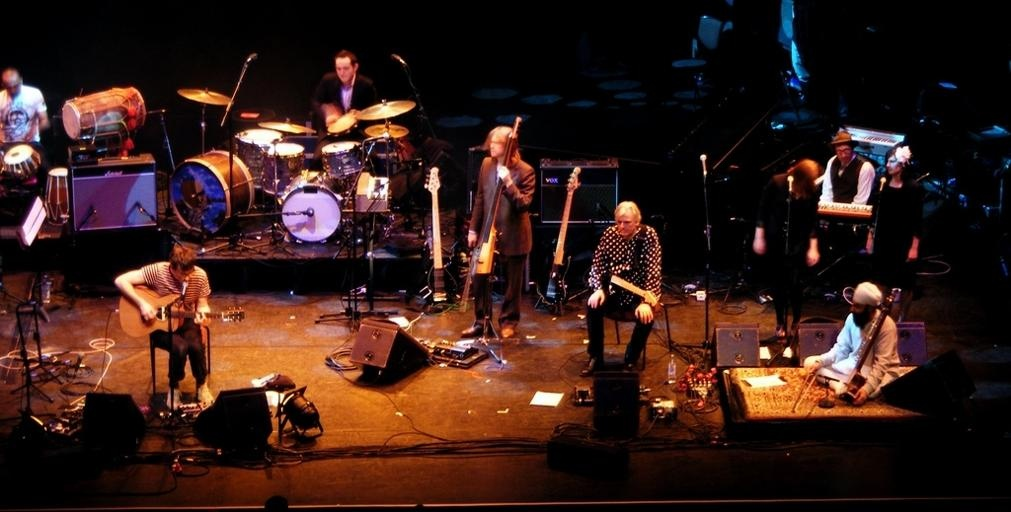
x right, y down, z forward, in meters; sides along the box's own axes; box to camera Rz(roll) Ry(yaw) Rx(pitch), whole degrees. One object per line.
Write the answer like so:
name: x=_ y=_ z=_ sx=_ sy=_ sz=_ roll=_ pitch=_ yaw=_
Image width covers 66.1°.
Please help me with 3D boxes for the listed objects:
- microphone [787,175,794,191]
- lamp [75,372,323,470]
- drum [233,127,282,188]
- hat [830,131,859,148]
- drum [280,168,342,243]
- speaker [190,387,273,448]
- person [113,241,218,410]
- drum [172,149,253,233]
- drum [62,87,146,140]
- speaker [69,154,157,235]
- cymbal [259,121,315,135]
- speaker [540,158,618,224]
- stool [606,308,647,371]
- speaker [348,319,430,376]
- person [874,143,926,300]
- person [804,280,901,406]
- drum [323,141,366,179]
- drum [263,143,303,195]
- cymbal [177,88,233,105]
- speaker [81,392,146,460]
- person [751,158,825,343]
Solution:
microphone: x=4.557 y=-1.137 z=12.388 sx=0.102 sy=0.212 sz=0.054 roll=3 pitch=3 yaw=-34
lamp: x=-3.829 y=2.261 z=10.689 sx=2.535 sy=0.682 sz=1.351 roll=-1 pitch=-4 yaw=-1
drum: x=-4.611 y=-1.811 z=14.632 sx=1.001 sy=0.834 sz=0.933 roll=-21 pitch=40 yaw=-34
hat: x=5.450 y=-1.869 z=12.656 sx=0.446 sy=0.138 sz=0.416 roll=-3 pitch=5 yaw=2
drum: x=-3.340 y=-0.766 z=14.253 sx=1.366 sy=0.987 sz=0.987 roll=1 pitch=3 yaw=12
speaker: x=-3.866 y=2.207 z=10.571 sx=1.142 sy=0.791 sz=1.021 roll=1 pitch=4 yaw=-33
person: x=-4.735 y=0.943 z=11.015 sx=1.474 sy=2.269 sz=0.363 roll=-3 pitch=4 yaw=12
drum: x=-5.498 y=-1.158 z=14.523 sx=1.356 sy=1.522 sz=0.683 roll=4 pitch=2 yaw=15
drum: x=-7.475 y=-2.640 z=14.509 sx=1.104 sy=0.858 sz=1.541 roll=0 pitch=7 yaw=39
speaker: x=-6.651 y=-0.999 z=14.075 sx=1.956 sy=1.315 sz=1.015 roll=-2 pitch=-2 yaw=18
cymbal: x=-4.158 y=-2.468 z=14.854 sx=0.971 sy=0.272 sz=1.033 roll=2 pitch=1 yaw=-21
speaker: x=1.108 y=-1.179 z=14.168 sx=1.620 sy=1.155 sz=0.853 roll=-4 pitch=8 yaw=-30
stool: x=1.764 y=1.239 z=11.733 sx=0.811 sy=0.745 sz=0.591 roll=4 pitch=2 yaw=6
speaker: x=-1.781 y=1.509 z=11.972 sx=1.069 sy=0.598 sz=1.069 roll=11 pitch=-7 yaw=35
person: x=6.241 y=-0.556 z=12.358 sx=0.690 sy=2.172 sz=0.519 roll=5 pitch=2 yaw=22
person: x=4.928 y=1.228 z=10.870 sx=1.096 sy=1.561 sz=0.417 roll=5 pitch=2 yaw=20
drum: x=-2.967 y=-1.738 z=14.241 sx=0.798 sy=0.479 sz=0.770 roll=-1 pitch=22 yaw=1
drum: x=-4.138 y=-1.614 z=14.510 sx=0.894 sy=0.716 sz=0.749 roll=13 pitch=33 yaw=6
cymbal: x=-5.788 y=-3.036 z=14.893 sx=0.838 sy=0.139 sz=0.715 roll=16 pitch=27 yaw=-1
speaker: x=-5.197 y=2.300 z=10.311 sx=1.026 sy=0.747 sz=0.640 roll=3 pitch=13 yaw=-1
person: x=4.533 y=-0.097 z=12.514 sx=0.996 sy=2.505 sz=0.511 roll=5 pitch=2 yaw=14
